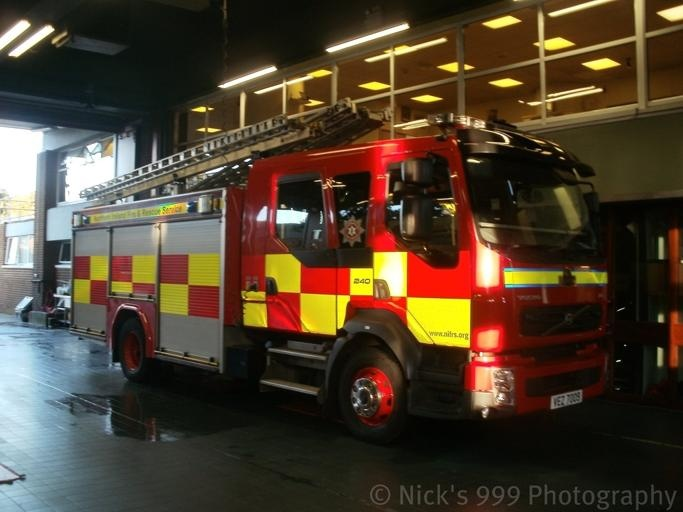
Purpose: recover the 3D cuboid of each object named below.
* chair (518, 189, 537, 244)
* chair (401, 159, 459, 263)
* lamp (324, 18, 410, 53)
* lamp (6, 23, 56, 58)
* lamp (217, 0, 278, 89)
[{"bbox_3d":[2.044,-0.394,6.082,0.188,0.679,0.169,-3,10,10],"label":"chair"},{"bbox_3d":[0.906,-0.553,5.891,0.598,0.843,0.305,10,10,19],"label":"chair"},{"bbox_3d":[0.513,-4.547,11.750,2.046,0.212,0.638,0,-1,40],"label":"lamp"},{"bbox_3d":[-6.657,-4.513,11.938,1.383,0.072,0.242,-12,-24,38],"label":"lamp"},{"bbox_3d":[-2.269,-4.658,13.272,1.261,0.743,4.161,1,-1,-13],"label":"lamp"}]
